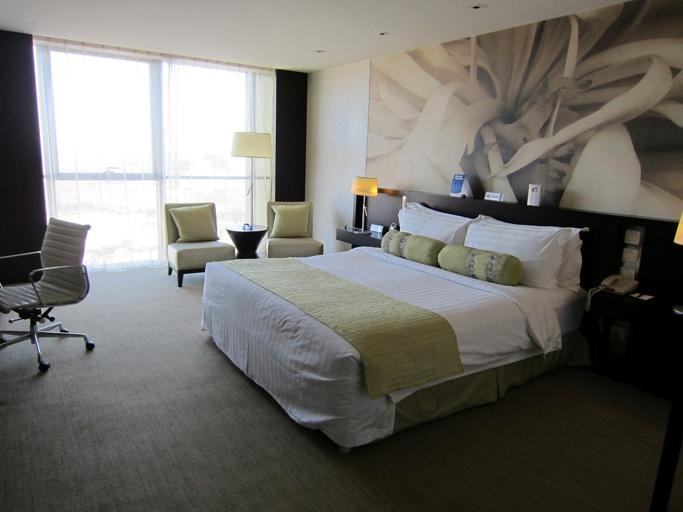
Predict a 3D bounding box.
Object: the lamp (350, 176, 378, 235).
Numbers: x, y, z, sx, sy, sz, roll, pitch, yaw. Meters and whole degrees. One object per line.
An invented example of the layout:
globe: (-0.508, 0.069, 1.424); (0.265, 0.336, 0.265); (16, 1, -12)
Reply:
lamp: (0.321, -0.697, 6.370); (0.349, 0.725, 0.565); (2, 12, 2)

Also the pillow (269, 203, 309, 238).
pillow: (-0.760, -0.492, 6.750); (0.449, 0.459, 0.164); (-2, -5, -4)

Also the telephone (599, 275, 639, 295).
telephone: (2.369, 0.242, 3.982); (0.183, 0.060, 0.181); (-20, 22, -35)

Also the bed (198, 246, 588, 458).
bed: (0.413, 0.666, 4.085); (3.227, 0.879, 1.964); (-2, 13, -14)
